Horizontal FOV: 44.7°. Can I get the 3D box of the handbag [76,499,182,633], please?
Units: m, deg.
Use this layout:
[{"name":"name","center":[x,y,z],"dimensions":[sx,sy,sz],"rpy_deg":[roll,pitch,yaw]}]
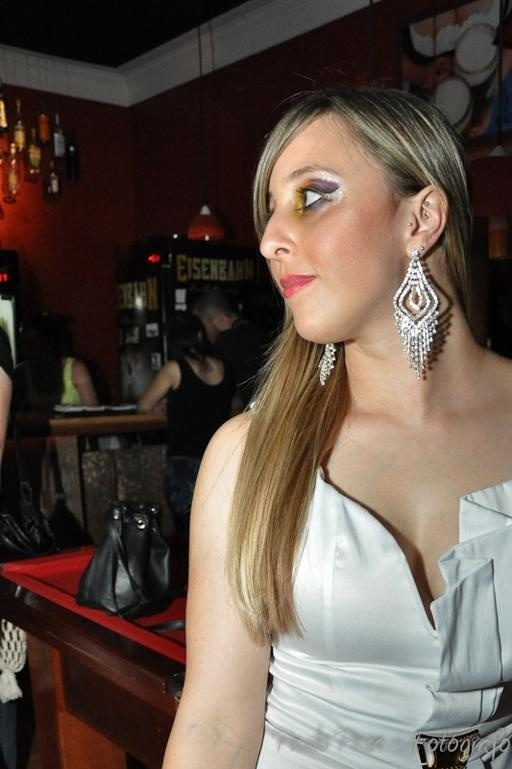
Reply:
[{"name":"handbag","center":[-0.274,0.382,1.357],"dimensions":[0.192,0.212,0.219],"rpy_deg":[2,1,37]}]
